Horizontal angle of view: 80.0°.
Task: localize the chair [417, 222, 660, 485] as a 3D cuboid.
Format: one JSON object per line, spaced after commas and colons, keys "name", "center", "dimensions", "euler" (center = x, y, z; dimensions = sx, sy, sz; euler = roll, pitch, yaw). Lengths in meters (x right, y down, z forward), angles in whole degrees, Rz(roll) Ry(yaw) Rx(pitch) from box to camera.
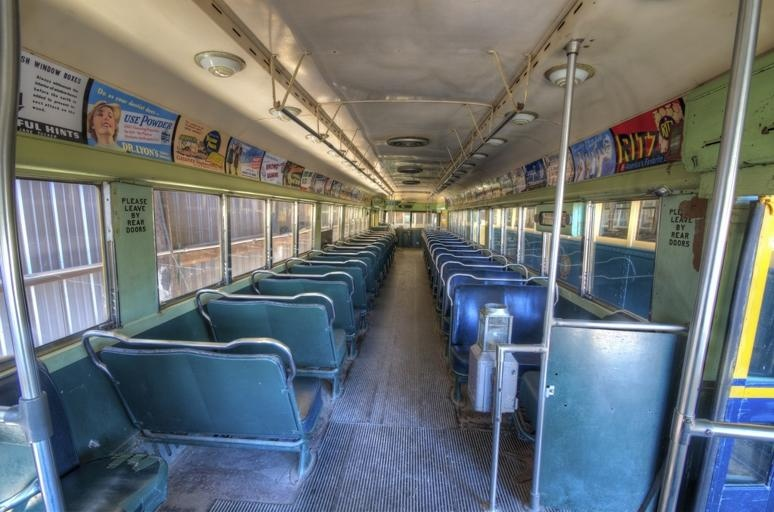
{"name": "chair", "center": [1.595, 1.040, 5.133], "dimensions": [1.008, 1.267, 3.101], "euler": [0, 6, -4]}
